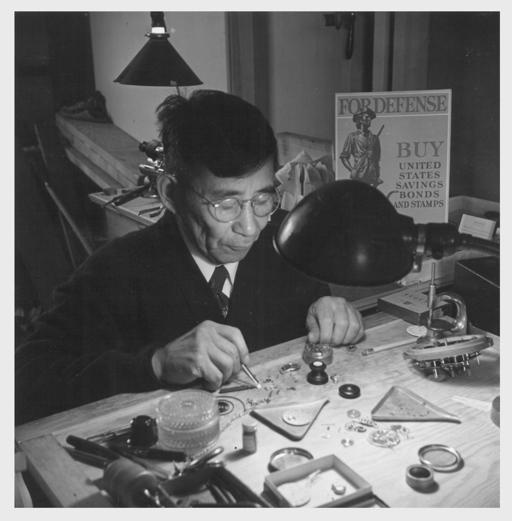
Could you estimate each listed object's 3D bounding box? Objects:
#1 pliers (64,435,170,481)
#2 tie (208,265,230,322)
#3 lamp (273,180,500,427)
[{"bbox_3d":[-0.391,0.566,1.608,0.169,0.029,0.028,21,13,12],"label":"pliers"},{"bbox_3d":[-0.140,0.141,2.394,0.055,0.195,0.129,-1,-3,25],"label":"tie"},{"bbox_3d":[0.353,0.045,1.421,0.541,0.520,0.347,0,27,13],"label":"lamp"}]
